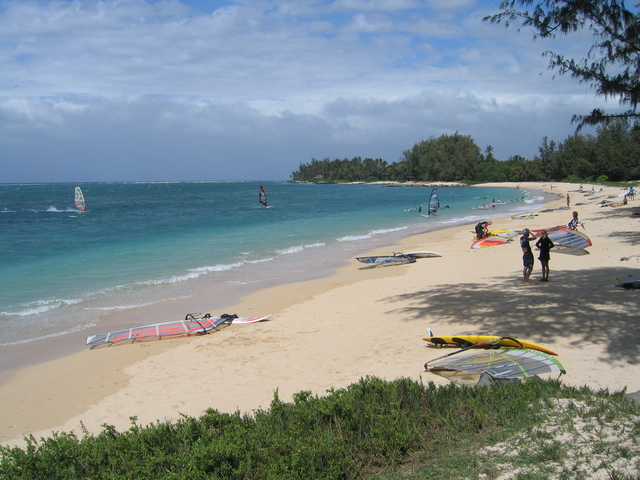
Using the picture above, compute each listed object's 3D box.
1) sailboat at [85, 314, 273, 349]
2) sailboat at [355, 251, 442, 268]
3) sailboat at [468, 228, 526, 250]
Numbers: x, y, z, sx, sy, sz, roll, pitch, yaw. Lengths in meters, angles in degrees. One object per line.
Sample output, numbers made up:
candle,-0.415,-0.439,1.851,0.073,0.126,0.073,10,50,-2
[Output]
sailboat,-4.305,2.703,17.575,4.779,0.584,1.745,-9,6,-9
sailboat,3.568,0.890,26.528,4.408,0.548,1.297,-1,13,-6
sailboat,9.050,-0.096,28.902,1.926,0.565,3.756,-2,11,27
